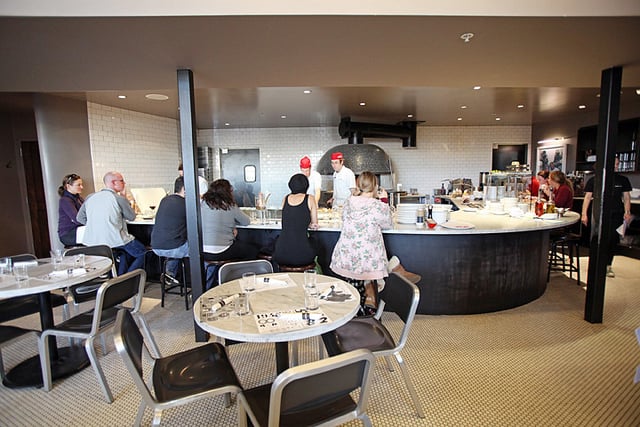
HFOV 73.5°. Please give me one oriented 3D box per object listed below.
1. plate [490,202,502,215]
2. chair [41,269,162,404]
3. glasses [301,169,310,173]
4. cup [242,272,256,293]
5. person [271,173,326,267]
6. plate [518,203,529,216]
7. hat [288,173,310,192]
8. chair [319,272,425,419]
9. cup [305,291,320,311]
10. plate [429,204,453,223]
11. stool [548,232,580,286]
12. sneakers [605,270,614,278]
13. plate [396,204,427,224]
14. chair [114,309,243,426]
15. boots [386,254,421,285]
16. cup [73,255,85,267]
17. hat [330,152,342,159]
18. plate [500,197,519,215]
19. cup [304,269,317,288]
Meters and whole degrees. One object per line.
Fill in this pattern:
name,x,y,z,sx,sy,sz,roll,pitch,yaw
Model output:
plate,2.529,-0.057,6.178,0.154,0.092,0.149,-5,8,-10
chair,-2.265,1.150,4.395,1.047,1.156,0.911,7,13,30
glasses,-0.223,-0.665,6.744,0.120,0.073,0.135,-2,8,-1
cup,-0.645,0.644,3.998,0.156,0.157,0.151,-1,4,0
person,-0.314,0.105,5.188,0.575,1.152,0.359,-3,9,-6
plate,2.828,-0.058,5.985,0.175,0.154,0.171,-6,8,-27
hat,-0.257,-0.354,5.152,0.200,0.203,0.241,2,34,7
chair,0.422,1.207,4.054,0.935,1.191,0.896,-4,13,-12
cup,-0.064,0.765,3.692,0.116,0.103,0.110,-1,9,0
plate,1.527,0.001,5.432,0.262,0.183,0.248,0,0,3
stool,3.682,0.681,6.468,0.513,0.606,0.488,2,8,-23
sneakers,4.387,0.926,6.531,0.110,0.117,0.294,-4,-8,20
plate,1.159,0.004,5.432,0.307,0.182,0.266,2,1,-19
chair,-1.179,1.299,3.588,0.910,1.038,0.668,-5,9,-20
boots,0.966,0.640,4.916,0.457,0.195,0.149,26,36,3
cup,-2.564,0.509,4.568,0.128,0.138,0.128,0,1,0
hat,0.254,-0.874,6.673,0.168,0.172,0.220,3,17,7
plate,2.707,-0.102,6.105,0.235,0.197,0.233,0,2,4
cup,-0.093,0.594,3.879,0.135,0.140,0.134,0,-3,0
